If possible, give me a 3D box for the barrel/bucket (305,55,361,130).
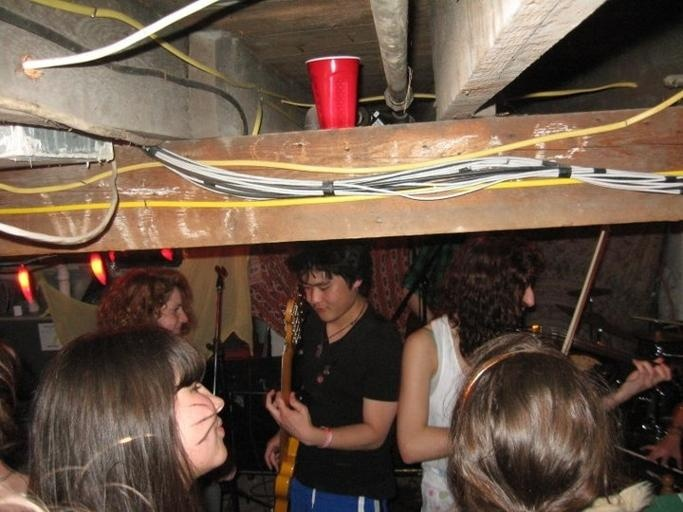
[{"bbox_3d":[-0.023,-0.668,2.440,0.169,0.345,0.226,11,14,39],"label":"barrel/bucket"}]

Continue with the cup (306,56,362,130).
[{"bbox_3d":[-0.011,-0.682,2.443,0.248,0.256,0.237,2,10,0],"label":"cup"}]
